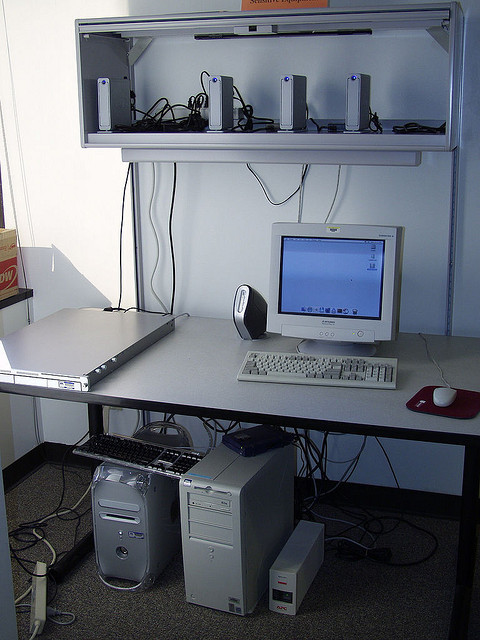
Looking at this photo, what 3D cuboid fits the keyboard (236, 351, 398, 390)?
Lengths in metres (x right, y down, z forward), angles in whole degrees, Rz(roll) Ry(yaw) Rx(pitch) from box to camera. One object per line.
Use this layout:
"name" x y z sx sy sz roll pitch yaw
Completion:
"keyboard" 0.214 0.124 1.443 0.402 0.046 0.232 2 11 13

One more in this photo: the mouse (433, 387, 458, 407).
"mouse" 0.457 0.173 1.200 0.047 0.030 0.065 4 11 22

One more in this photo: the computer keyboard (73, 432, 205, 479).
"computer keyboard" -0.300 0.399 1.608 0.418 0.036 0.173 5 12 25
